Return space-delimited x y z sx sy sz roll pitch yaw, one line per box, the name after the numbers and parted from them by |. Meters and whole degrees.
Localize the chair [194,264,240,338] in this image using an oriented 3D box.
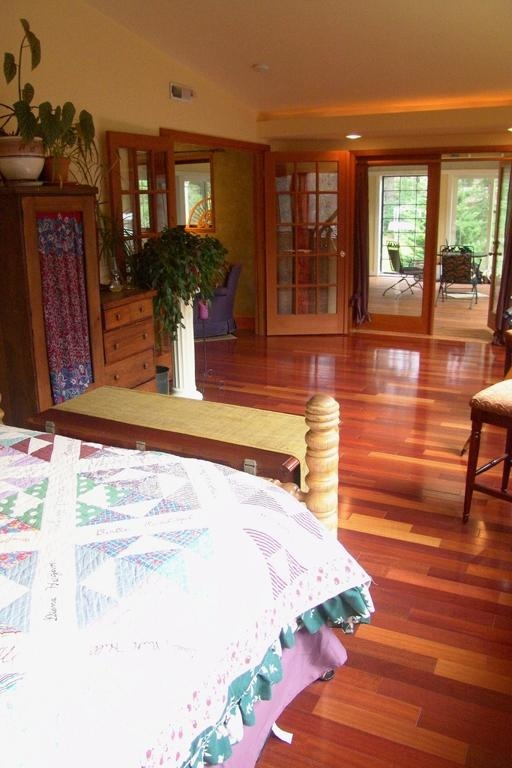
-0.552 -1.071 7.267 0.650 0.792 0.612 -3 0 -8 | chair

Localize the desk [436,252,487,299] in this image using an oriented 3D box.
3.589 -1.956 9.520 0.592 0.984 0.723 6 21 27 | desk

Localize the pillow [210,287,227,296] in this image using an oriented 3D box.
-0.474 -1.179 6.878 0.110 0.128 0.222 13 14 37 | pillow
